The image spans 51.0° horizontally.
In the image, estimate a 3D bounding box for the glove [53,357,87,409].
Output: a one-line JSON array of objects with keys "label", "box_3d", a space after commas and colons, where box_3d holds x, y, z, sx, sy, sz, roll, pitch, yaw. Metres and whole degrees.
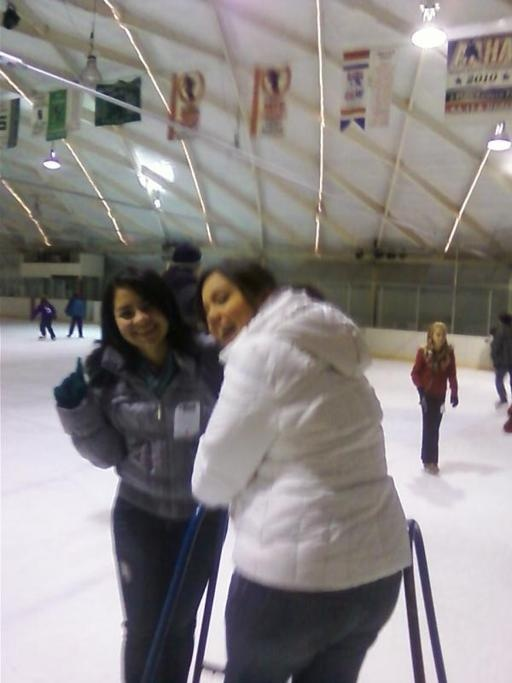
[{"label": "glove", "box_3d": [-0.471, 0.102, 1.375, 0.027, 0.129, 0.077, 6, 4, 42]}]

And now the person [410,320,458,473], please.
[{"label": "person", "box_3d": [1.569, 0.492, 4.807, 0.347, 1.360, 0.529, 7, 12, 25]}]
